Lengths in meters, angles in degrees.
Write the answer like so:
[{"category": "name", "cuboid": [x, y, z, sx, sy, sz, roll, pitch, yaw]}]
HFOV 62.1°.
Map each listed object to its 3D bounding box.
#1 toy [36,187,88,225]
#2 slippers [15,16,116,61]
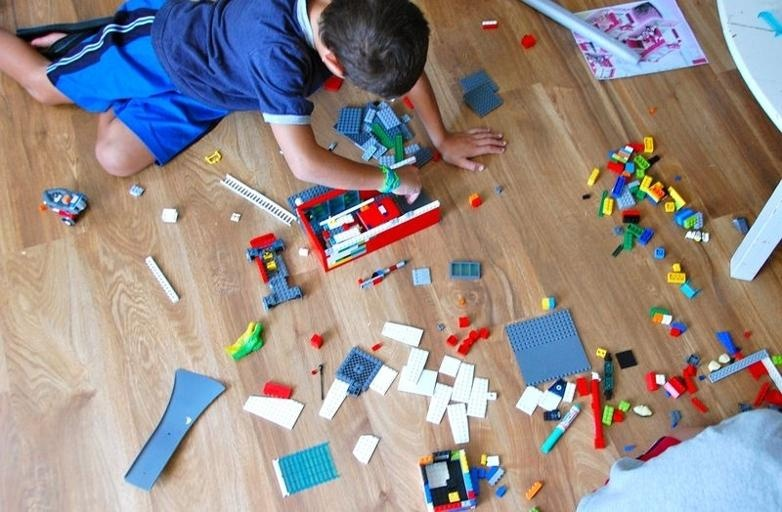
[{"category": "toy", "cuboid": [-1.322, -0.216, 2.655, 0.167, 0.080, 0.133, 28, 82, 3]}, {"category": "slippers", "cuboid": [-1.364, -0.906, 2.738, 0.183, 0.071, 0.195, 30, 64, 17]}]
